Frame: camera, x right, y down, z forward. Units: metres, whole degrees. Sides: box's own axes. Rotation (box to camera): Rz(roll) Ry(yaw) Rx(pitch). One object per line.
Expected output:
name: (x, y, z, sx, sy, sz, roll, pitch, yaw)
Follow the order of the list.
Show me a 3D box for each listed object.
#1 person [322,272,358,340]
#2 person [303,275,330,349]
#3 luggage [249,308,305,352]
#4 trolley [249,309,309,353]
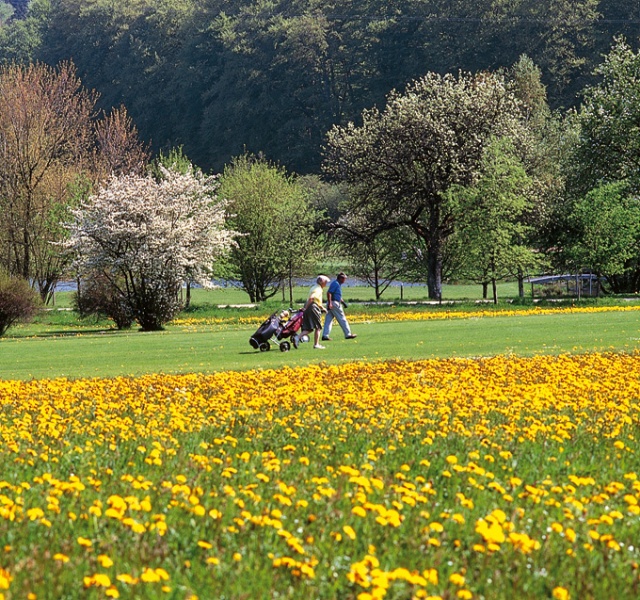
person: (0.505, 0.206, 25.868, 0.754, 1.673, 0.625, 1, 1, 7)
person: (-0.119, 0.308, 24.477, 0.683, 1.675, 0.547, 3, 5, -2)
luggage: (-1.154, 0.725, 24.418, 0.957, 1.149, 0.929, 0, 2, -40)
trolley: (-0.987, 0.736, 24.277, 0.748, 0.613, 1.293, 34, 66, 32)
